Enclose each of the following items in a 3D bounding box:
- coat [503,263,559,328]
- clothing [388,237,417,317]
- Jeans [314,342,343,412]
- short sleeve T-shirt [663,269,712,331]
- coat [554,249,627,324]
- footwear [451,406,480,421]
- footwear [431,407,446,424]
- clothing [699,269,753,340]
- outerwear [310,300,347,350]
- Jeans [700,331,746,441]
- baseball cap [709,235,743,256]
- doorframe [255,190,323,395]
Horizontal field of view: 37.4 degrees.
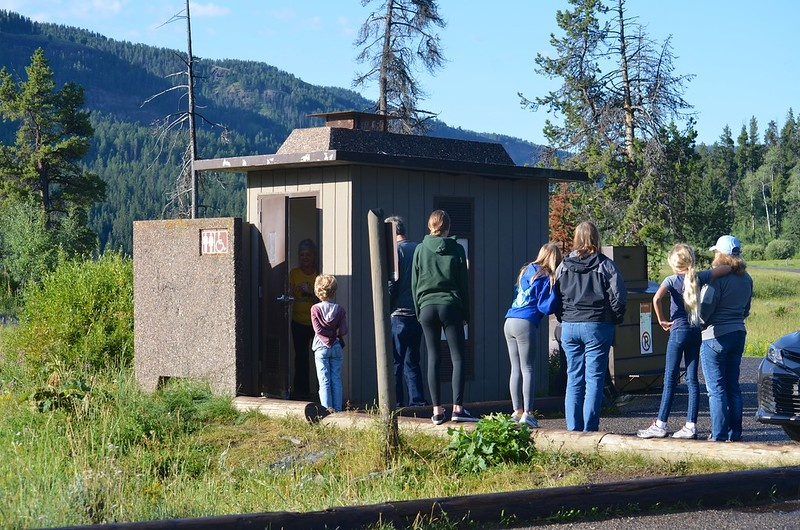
[{"bbox_3d":[2.212,0.610,20.687,1.024,1.174,0.701,4,-16,35],"label":"coat"},{"bbox_3d":[0.228,0.174,21.550,0.488,1.376,0.893,-3,-6,12],"label":"clothing"},{"bbox_3d":[-1.271,1.990,21.239,0.487,1.240,0.317,0,-3,-13],"label":"Jeans"},{"bbox_3d":[4.947,0.595,20.185,0.942,1.107,0.398,-2,7,15],"label":"short sleeve T-shirt"},{"bbox_3d":[3.362,0.331,20.309,1.493,1.622,0.969,1,8,32],"label":"coat"},{"bbox_3d":[1.156,2.578,20.516,0.527,0.250,0.202,1,0,-25],"label":"footwear"},{"bbox_3d":[0.660,2.567,20.148,0.252,0.260,0.391,-1,-3,3],"label":"footwear"},{"bbox_3d":[5.627,0.630,20.389,1.066,1.133,0.638,-4,11,-27],"label":"clothing"},{"bbox_3d":[-1.266,1.143,21.424,0.591,1.027,0.377,-3,15,-6],"label":"outerwear"},{"bbox_3d":[5.526,2.046,20.106,0.727,1.842,0.508,-1,-3,4],"label":"Jeans"},{"bbox_3d":[5.587,-0.355,20.338,0.317,0.285,0.430,0,5,-33],"label":"baseball cap"},{"bbox_3d":[-1.900,0.550,23.463,1.288,3.991,2.139,-2,-3,21],"label":"doorframe"}]
